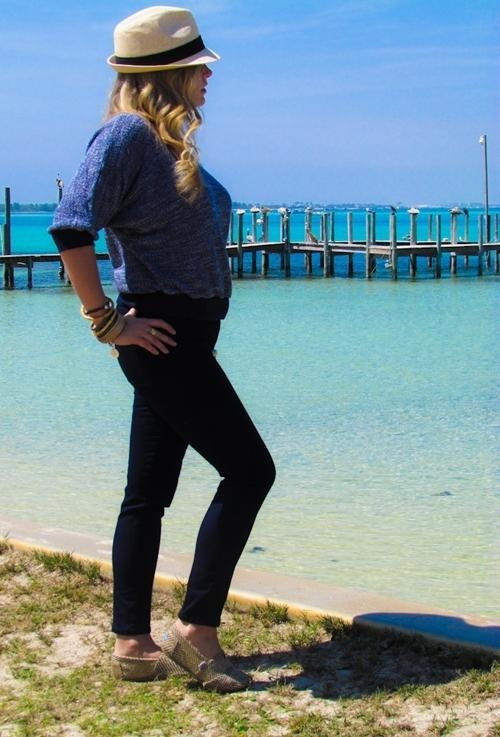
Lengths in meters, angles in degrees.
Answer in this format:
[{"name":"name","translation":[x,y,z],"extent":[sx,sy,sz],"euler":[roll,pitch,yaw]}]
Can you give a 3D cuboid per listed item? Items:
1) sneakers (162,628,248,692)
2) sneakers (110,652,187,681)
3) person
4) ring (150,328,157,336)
[{"name":"sneakers","translation":[-0.125,0.803,2.306],"extent":[0.257,0.092,0.105],"euler":[29,11,11]},{"name":"sneakers","translation":[-0.283,0.827,2.349],"extent":[0.227,0.072,0.074],"euler":[0,4,-8]},{"name":"person","translation":[-0.224,-0.043,2.222],"extent":[0.621,1.726,0.296],"euler":[2,0,-11]},{"name":"ring","translation":[-0.248,-0.093,2.146],"extent":[0.014,0.018,0.007],"euler":[2,0,4]}]
